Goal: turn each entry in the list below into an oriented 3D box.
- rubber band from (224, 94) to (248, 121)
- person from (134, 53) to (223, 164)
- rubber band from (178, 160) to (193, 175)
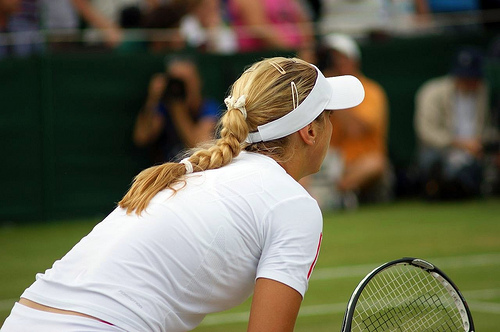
[{"bbox_3d":[-0.099,-0.417,4.914,0.161,0.177,0.093,11,16,40],"label":"rubber band"},{"bbox_3d":[-1.232,-0.894,10.362,1.306,2.124,0.700,6,-4,3],"label":"person"},{"bbox_3d":[-0.449,0.011,4.859,0.031,0.086,0.077,-26,-10,9],"label":"rubber band"}]
